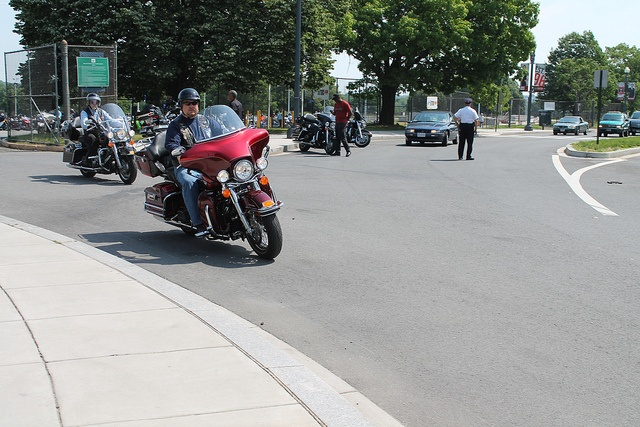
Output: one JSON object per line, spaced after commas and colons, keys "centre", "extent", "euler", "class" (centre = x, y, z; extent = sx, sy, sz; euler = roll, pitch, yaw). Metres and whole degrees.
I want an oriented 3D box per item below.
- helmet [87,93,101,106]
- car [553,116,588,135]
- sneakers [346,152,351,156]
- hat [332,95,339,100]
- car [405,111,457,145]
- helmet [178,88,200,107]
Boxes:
{"centre": [-5.764, -2.923, 15.182], "extent": [0.354, 0.393, 0.443], "euler": [-1, 6, -32], "class": "helmet"}
{"centre": [22.104, -7.570, 51.388], "extent": [1.742, 1.111, 3.596], "euler": [7, 17, 33], "class": "car"}
{"centre": [1.113, -2.292, 22.808], "extent": [0.134, 0.199, 0.200], "euler": [4, -32, 5], "class": "sneakers"}
{"centre": [0.596, -4.299, 21.604], "extent": [0.168, 0.198, 0.199], "euler": [6, -3, -25], "class": "hat"}
{"centre": [5.609, -4.259, 29.553], "extent": [2.082, 1.654, 2.765], "euler": [6, 11, 28], "class": "car"}
{"centre": [-1.922, -1.718, 8.690], "extent": [0.224, 0.210, 0.274], "euler": [-3, 25, -32], "class": "helmet"}
